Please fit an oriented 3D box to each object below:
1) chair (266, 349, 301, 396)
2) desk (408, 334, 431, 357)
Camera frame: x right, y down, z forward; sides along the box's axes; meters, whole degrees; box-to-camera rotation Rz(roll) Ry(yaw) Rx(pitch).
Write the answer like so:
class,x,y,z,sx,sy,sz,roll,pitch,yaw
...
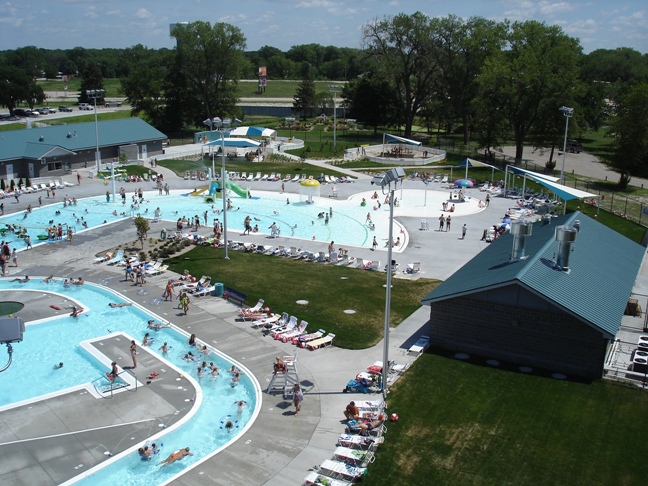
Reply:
class,x,y,z,sx,sy,sz,roll,pitch,yaw
chair,-2.207,7.384,34.033,1.679,2.058,1.637,-19,48,-12
desk,6.307,6.667,36.577,0.625,0.471,2.245,-2,10,18
